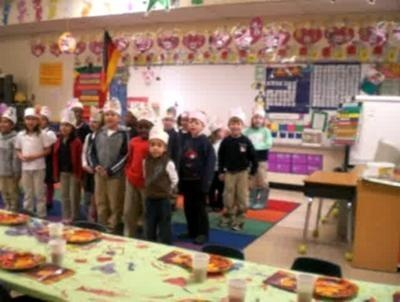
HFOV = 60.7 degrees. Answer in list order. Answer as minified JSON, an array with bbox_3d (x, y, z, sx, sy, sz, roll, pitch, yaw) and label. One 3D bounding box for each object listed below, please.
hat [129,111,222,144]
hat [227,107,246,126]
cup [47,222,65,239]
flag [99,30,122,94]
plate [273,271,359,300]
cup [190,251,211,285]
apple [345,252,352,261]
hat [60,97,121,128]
[{"bbox_3d":[-0.349,-0.413,5.591,1.305,0.564,0.409,9,4,7],"label":"hat"},{"bbox_3d":[0.547,-0.508,5.001,0.236,0.260,0.201,4,1,3],"label":"hat"},{"bbox_3d":[-1.052,0.575,2.535,0.135,0.126,0.129,1,-1,0],"label":"cup"},{"bbox_3d":[-2.367,-2.301,8.872,0.634,1.569,0.242,9,13,35],"label":"flag"},{"bbox_3d":[0.697,0.803,2.051,0.279,0.038,0.209,1,4,30],"label":"plate"},{"bbox_3d":[-0.002,0.717,2.086,0.157,0.180,0.139,2,-4,-6],"label":"cup"},{"bbox_3d":[1.812,1.285,4.172,0.085,0.073,0.082,1,0,7],"label":"apple"},{"bbox_3d":[-1.611,-0.650,5.065,0.667,0.376,0.641,0,5,-3],"label":"hat"}]
